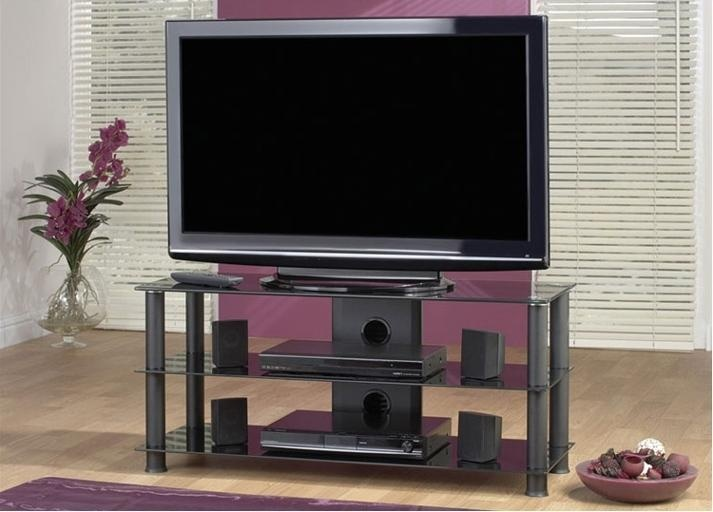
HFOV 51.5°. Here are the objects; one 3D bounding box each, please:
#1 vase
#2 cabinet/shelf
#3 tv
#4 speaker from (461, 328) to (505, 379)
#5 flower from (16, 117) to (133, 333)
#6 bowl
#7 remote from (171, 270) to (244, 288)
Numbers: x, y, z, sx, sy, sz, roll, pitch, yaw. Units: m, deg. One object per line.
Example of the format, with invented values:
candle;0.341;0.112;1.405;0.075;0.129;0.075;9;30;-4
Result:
vase;-1.902;0.364;4.831;0.445;0.403;0.396;-3;-7;17
cabinet/shelf;0.003;0.521;3.084;1.778;0.716;0.595;-2;-5;25
tv;0.027;-0.393;2.742;1.353;0.732;0.167;0;3;8
speaker;0.451;0.347;2.637;0.153;0.173;0.121;1;7;7
flower;-1.814;-0.172;4.767;0.704;1.383;1.049;-2;7;-16
bowl;0.949;0.741;2.498;0.219;0.045;0.194;-1;1;1
remote;-0.570;0.085;2.801;0.196;0.033;0.098;5;7;9
